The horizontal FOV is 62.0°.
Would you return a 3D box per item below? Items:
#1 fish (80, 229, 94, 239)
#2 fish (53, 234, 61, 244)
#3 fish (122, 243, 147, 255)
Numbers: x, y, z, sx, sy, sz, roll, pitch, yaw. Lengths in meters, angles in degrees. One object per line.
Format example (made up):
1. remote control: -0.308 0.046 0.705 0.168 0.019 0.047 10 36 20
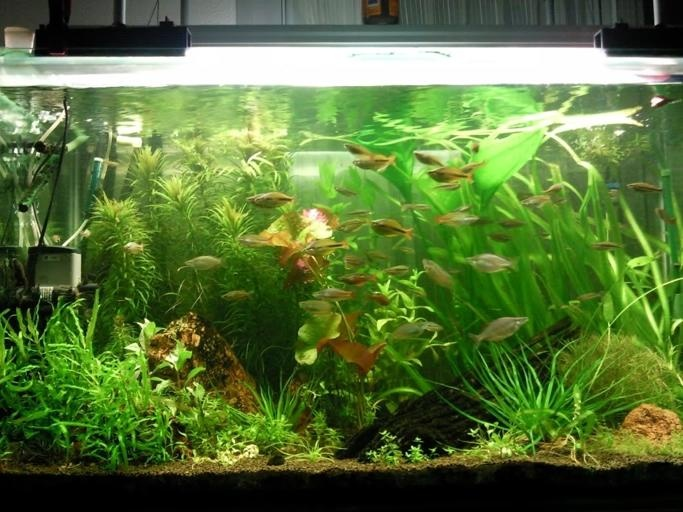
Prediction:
1. fish: -2.554 -0.223 5.692 0.128 0.091 0.053 4 7 25
2. fish: -2.833 -0.180 5.646 0.079 0.054 0.084 -8 -13 43
3. fish: -2.029 -0.074 5.539 0.196 0.121 0.184 0 7 -15
